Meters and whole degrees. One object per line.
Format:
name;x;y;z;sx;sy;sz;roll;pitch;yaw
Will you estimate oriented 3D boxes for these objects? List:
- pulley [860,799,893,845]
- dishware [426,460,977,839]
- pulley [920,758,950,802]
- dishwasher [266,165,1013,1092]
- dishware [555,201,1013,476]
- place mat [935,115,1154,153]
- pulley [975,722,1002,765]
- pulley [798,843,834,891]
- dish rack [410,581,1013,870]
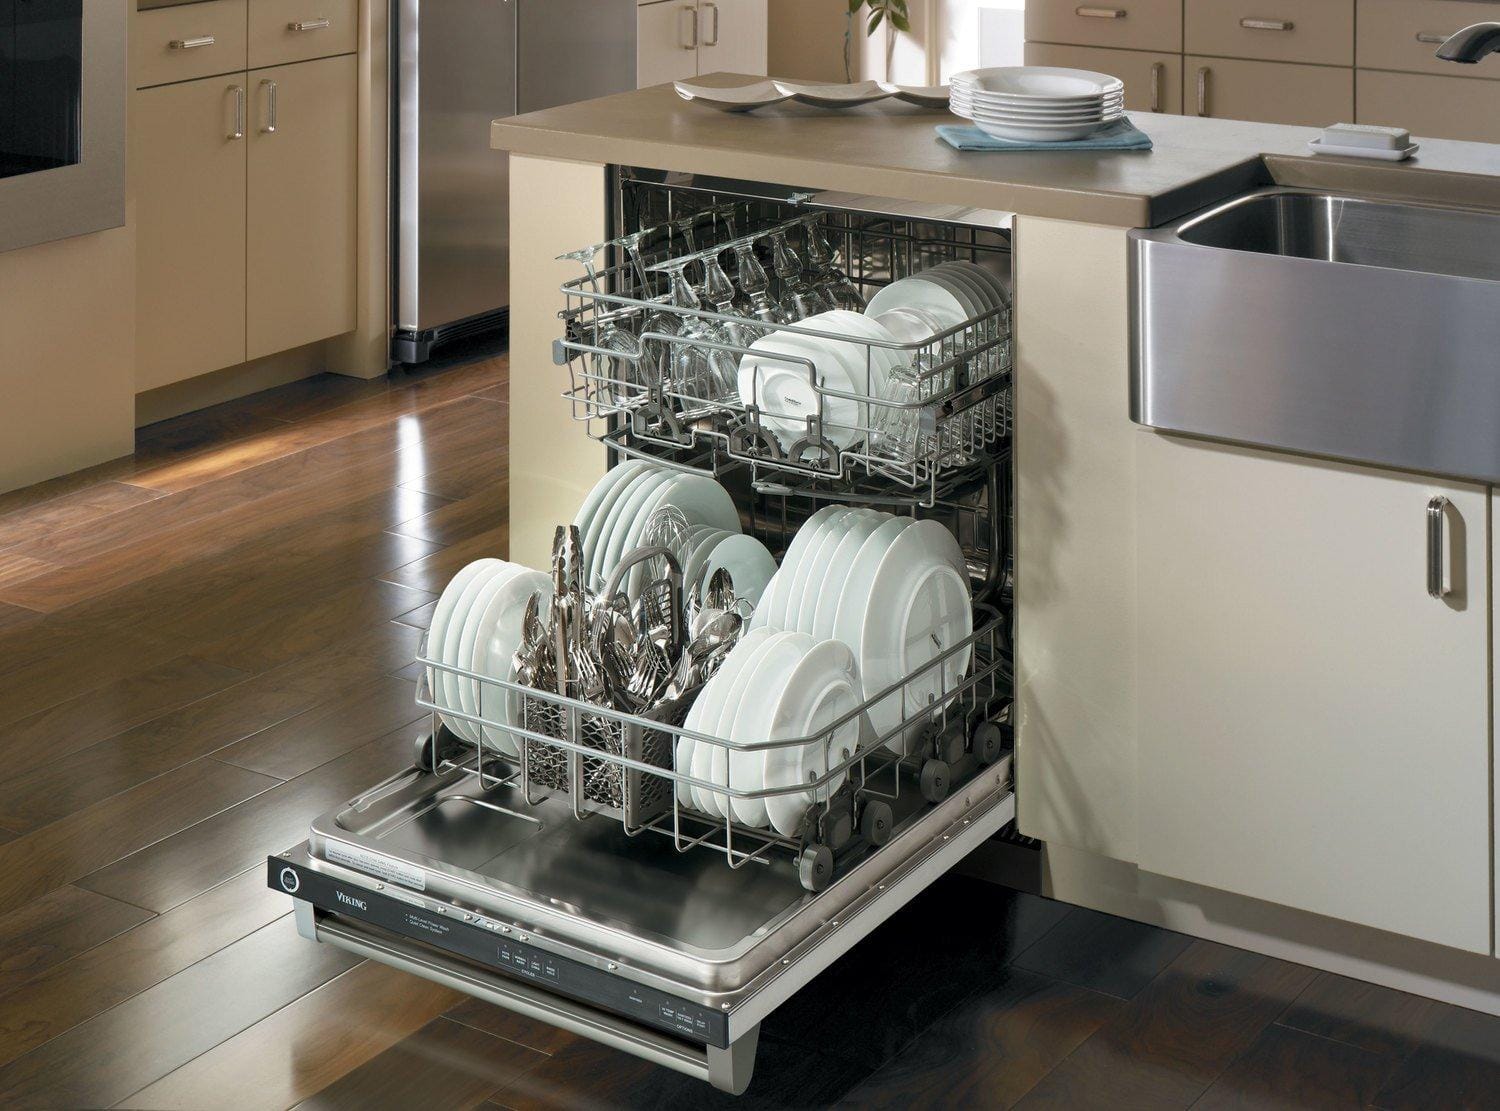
pulley;0.165;0.349;1.712;0.019;0.059;0.063;5;14;28
dishware;-0.032;0.109;1.783;0.587;0.271;0.546;19;44;33
pulley;0.257;0.309;1.808;0.027;0.057;0.061;3;7;26
dishwasher;-0.054;-0.021;1.910;0.798;0.968;1.094;8;20;36
dishware;0.083;-0.315;1.937;0.474;0.205;0.616;18;29;34
place mat;0.453;-0.646;2.016;0.318;0.038;0.193;2;21;9
pulley;0.349;0.273;1.918;0.016;0.050;0.053;6;21;30
pulley;0.081;0.389;1.636;0.044;0.070;0.048;-1;21;2
dish rack;-0.075;0.144;1.891;0.719;0.276;0.637;6;20;25
